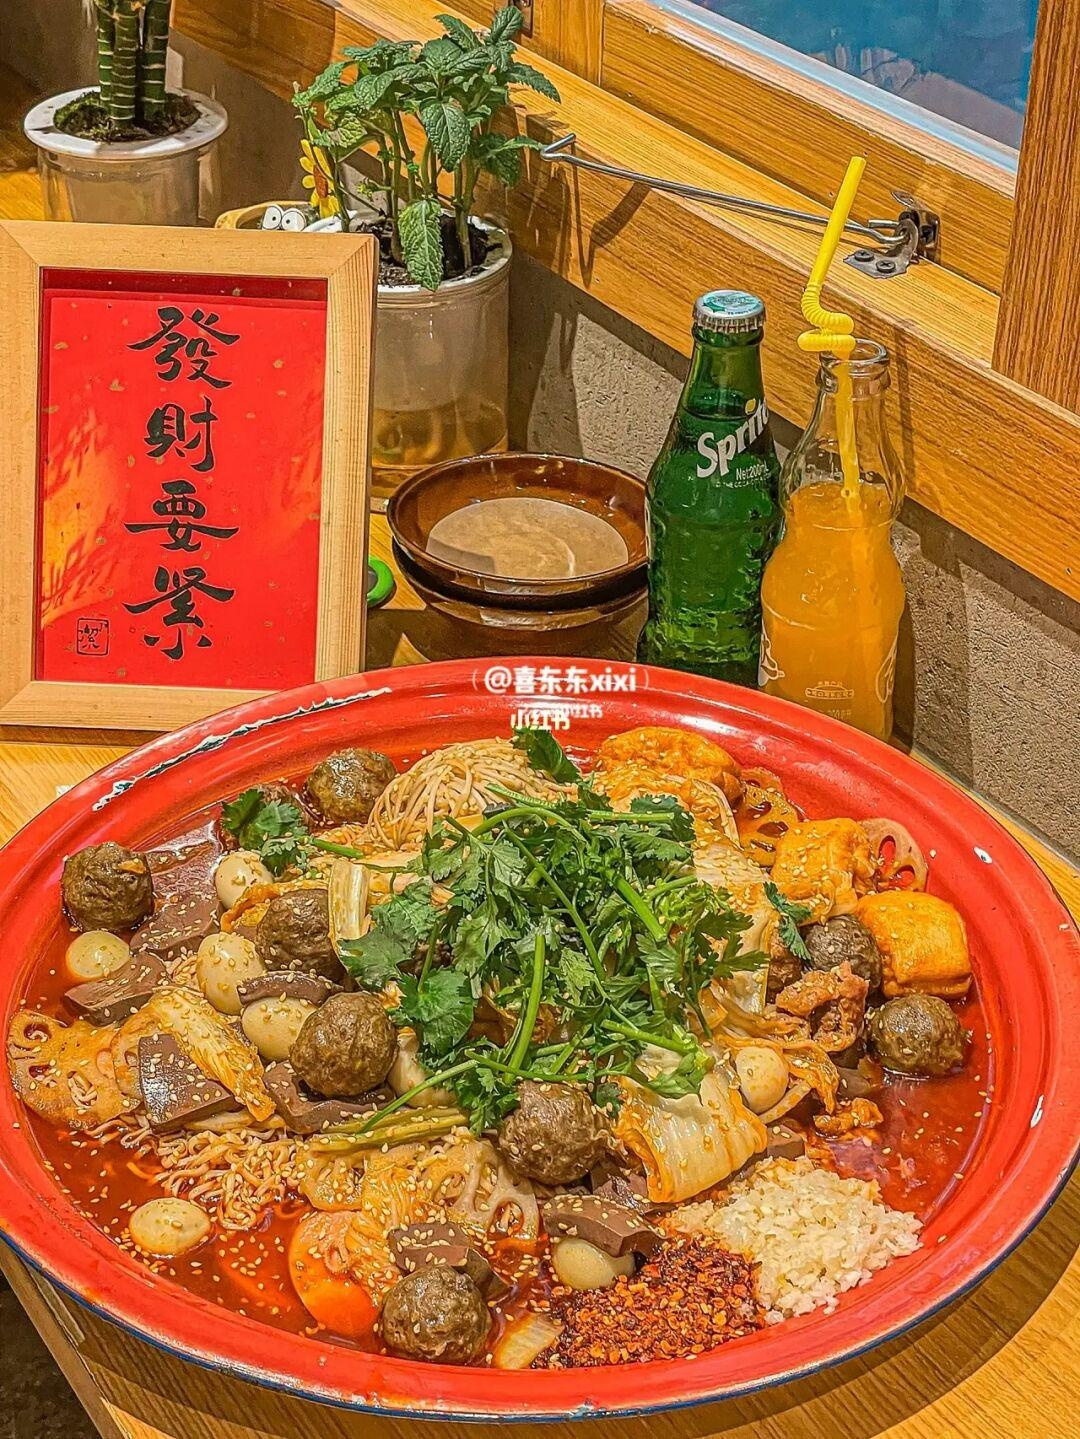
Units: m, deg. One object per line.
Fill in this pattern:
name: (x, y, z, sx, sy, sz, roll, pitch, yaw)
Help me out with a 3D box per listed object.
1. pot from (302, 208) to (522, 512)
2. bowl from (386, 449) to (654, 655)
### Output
pot: (-0.256, -0.540, 1.855, 0.308, 0.323, 0.311, 18, 18, -6)
bowl: (-0.013, -0.208, 1.563, 0.306, 0.113, 0.300, 0, 48, 0)
